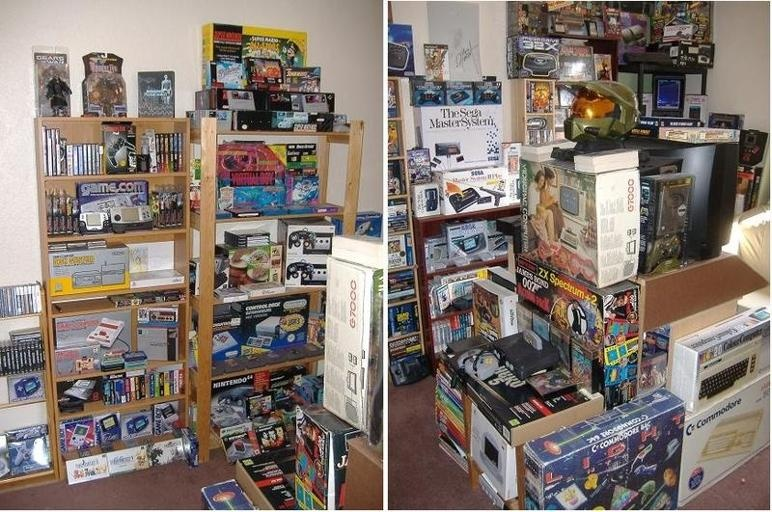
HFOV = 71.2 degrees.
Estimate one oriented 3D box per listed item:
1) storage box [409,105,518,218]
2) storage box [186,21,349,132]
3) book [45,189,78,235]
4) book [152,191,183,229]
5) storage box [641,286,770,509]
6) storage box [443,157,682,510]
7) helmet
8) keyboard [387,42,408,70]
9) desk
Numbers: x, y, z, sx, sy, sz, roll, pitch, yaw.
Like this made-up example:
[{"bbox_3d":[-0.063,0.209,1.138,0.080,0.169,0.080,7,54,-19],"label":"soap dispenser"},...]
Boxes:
[{"bbox_3d":[0.637,-0.804,4.724,0.995,1.123,0.369,-7,-1,-24],"label":"storage box"},{"bbox_3d":[-0.967,-1.378,4.161,0.964,0.655,0.484,-7,17,-31],"label":"storage box"},{"bbox_3d":[-2.247,-0.311,3.836,0.278,0.368,0.270,-6,12,-31],"label":"book"},{"bbox_3d":[-1.636,-0.345,4.011,0.289,0.322,0.044,-1,7,-16],"label":"book"},{"bbox_3d":[1.802,0.800,3.086,1.259,1.129,0.432,-8,9,-37],"label":"storage box"},{"bbox_3d":[0.849,0.430,3.039,0.826,0.865,0.730,-13,17,-20],"label":"storage box"},{"bbox_3d":[1.142,-0.767,2.872,0.353,0.309,0.206,0,17,22],"label":"helmet"},{"bbox_3d":[0.104,-1.678,4.541,0.179,0.210,0.071,-6,23,-15],"label":"keyboard"},{"bbox_3d":[1.598,0.200,2.885,0.679,0.283,0.346,-13,11,-26],"label":"desk"}]
